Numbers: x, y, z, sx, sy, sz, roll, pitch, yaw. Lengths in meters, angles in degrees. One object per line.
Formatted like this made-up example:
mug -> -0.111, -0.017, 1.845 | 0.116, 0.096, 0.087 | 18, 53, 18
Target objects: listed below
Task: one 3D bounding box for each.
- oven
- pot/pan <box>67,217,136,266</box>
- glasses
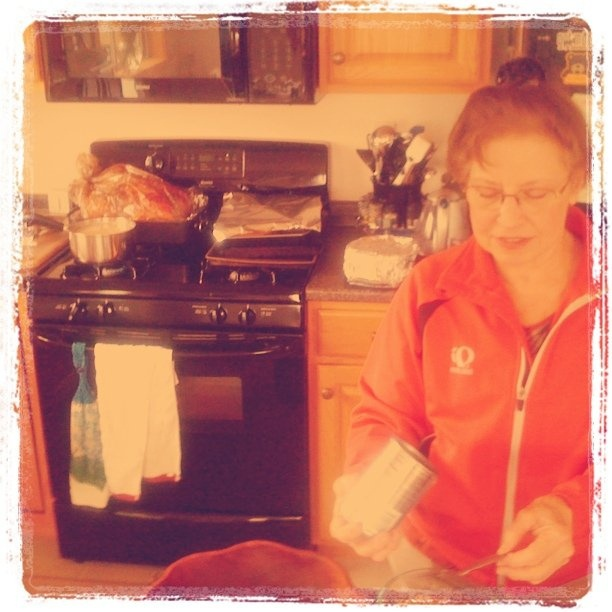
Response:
oven -> -0.305, 0.498, 2.234 | 0.766, 0.776, 0.574 | 1, -11, 2
pot/pan -> -0.599, -0.186, 2.001 | 0.181, 0.085, 0.177 | 1, 14, 2
glasses -> 0.376, -0.205, 1.164 | 0.191, 0.061, 0.050 | 3, 22, 16
